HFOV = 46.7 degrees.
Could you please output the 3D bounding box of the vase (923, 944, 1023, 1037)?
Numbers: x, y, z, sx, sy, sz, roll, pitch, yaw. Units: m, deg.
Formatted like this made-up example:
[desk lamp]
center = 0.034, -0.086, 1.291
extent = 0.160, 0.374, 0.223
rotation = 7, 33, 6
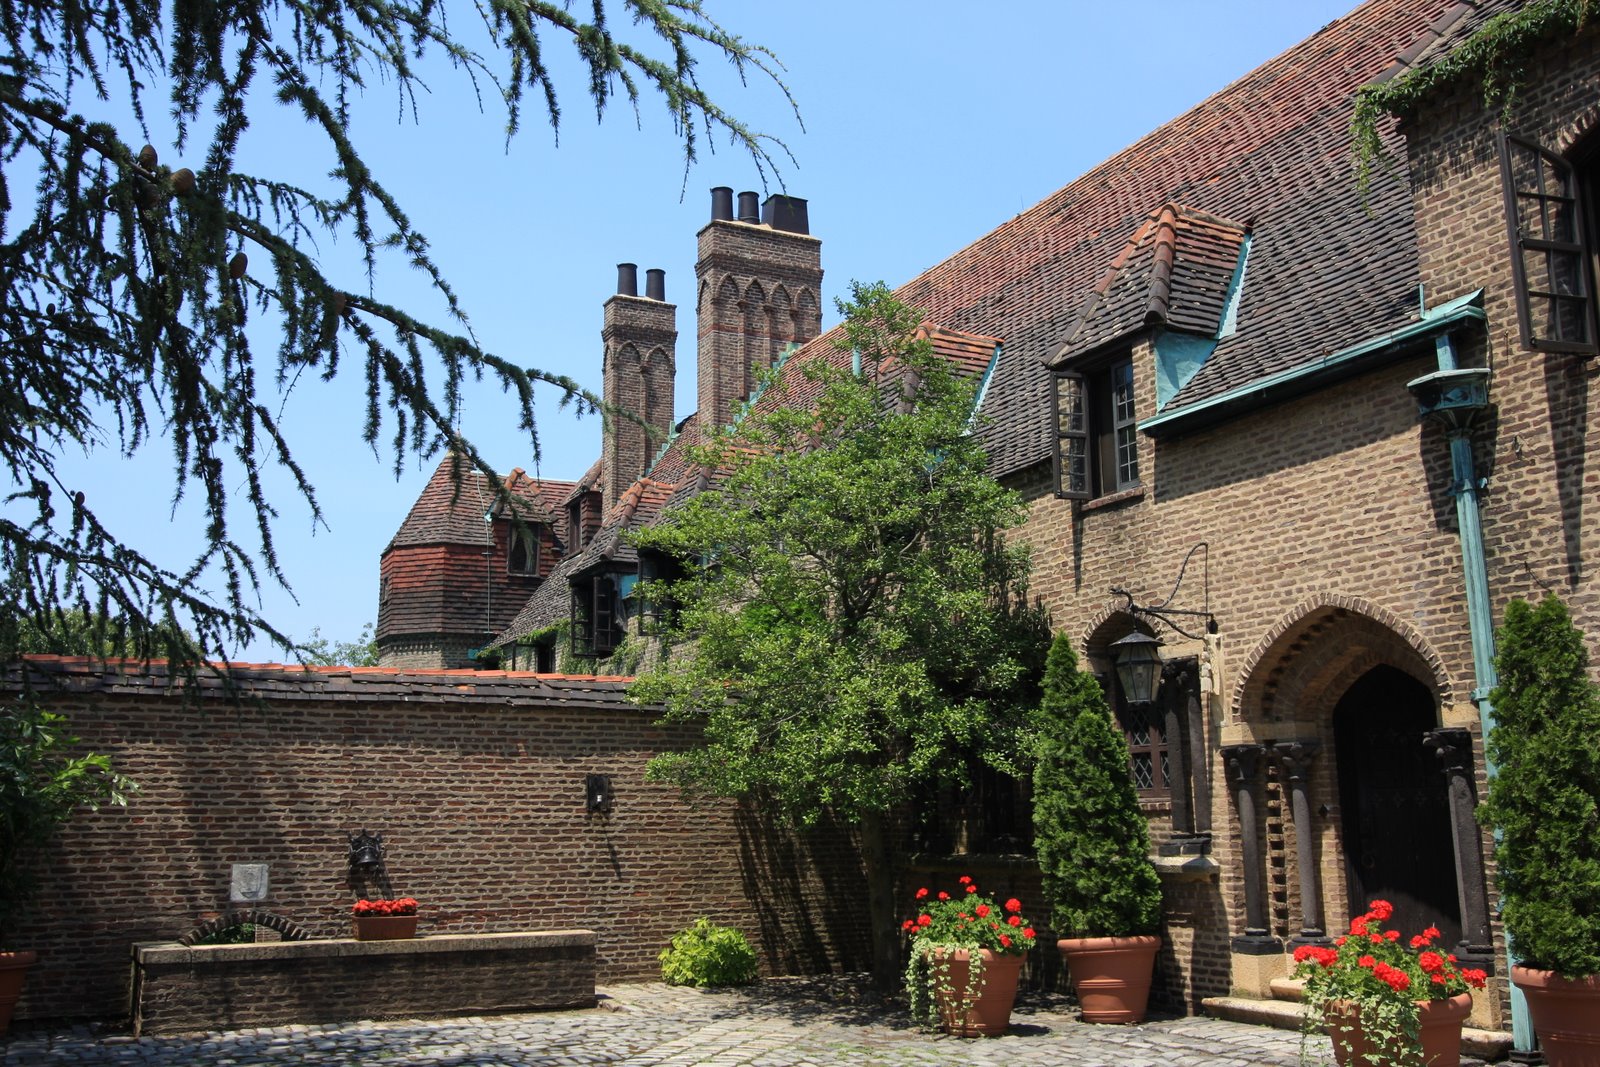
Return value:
[vase]
center = 2.117, 5.629, 22.667
extent = 1.110, 0.788, 1.068
rotation = 1, -25, 0
